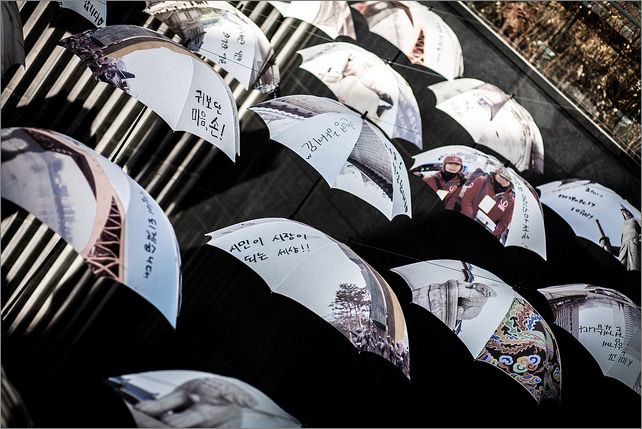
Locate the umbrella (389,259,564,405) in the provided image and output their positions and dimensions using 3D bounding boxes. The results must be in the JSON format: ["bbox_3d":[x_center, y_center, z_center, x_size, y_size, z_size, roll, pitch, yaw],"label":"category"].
[{"bbox_3d":[2.430,1.727,17.181,2.459,0.860,2.360,50,-3,-35],"label":"umbrella"}]

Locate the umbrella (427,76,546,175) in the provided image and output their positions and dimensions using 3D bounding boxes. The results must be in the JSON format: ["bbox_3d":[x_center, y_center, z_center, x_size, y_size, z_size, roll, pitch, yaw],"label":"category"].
[{"bbox_3d":[2.806,-1.465,17.871,1.695,1.123,1.751,44,27,-22],"label":"umbrella"}]
